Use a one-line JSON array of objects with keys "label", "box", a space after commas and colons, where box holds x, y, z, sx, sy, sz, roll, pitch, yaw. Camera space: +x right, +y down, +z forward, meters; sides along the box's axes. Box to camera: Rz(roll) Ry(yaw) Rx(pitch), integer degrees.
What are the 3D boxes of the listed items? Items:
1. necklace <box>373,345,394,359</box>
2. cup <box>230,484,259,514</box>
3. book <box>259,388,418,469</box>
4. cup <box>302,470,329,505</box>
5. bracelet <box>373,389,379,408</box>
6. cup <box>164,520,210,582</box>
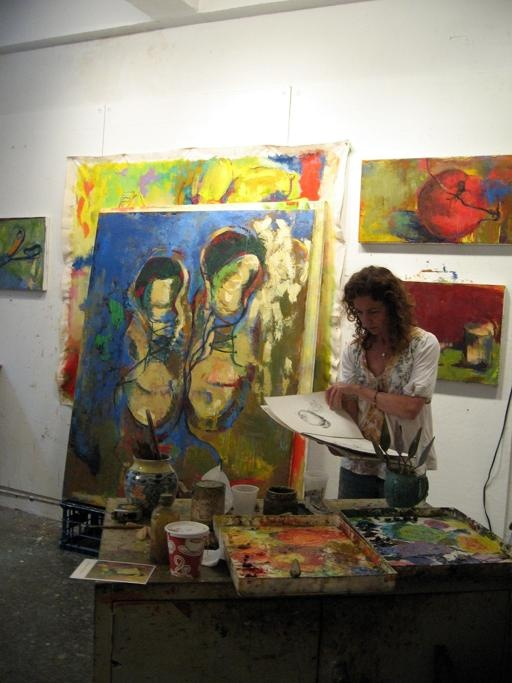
[{"label": "necklace", "box": [0.449, 0.042, 2.181, 0.027, 0.021, 0.066, 5, 10, -33]}, {"label": "cup", "box": [-0.021, 0.451, 1.781, 0.082, 0.059, 0.075, -1, -1, 0]}, {"label": "book", "box": [0.215, 0.272, 1.967, 0.293, 0.092, 0.295, 43, 20, 32]}, {"label": "cup", "box": [0.189, 0.451, 1.890, 0.084, 0.082, 0.081, 1, -2, 0]}, {"label": "bracelet", "box": [0.403, 0.202, 2.088, 0.017, 0.047, 0.019, -5, -38, 11]}, {"label": "cup", "box": [-0.157, 0.467, 1.396, 0.105, 0.085, 0.109, 5, -5, 0]}]
